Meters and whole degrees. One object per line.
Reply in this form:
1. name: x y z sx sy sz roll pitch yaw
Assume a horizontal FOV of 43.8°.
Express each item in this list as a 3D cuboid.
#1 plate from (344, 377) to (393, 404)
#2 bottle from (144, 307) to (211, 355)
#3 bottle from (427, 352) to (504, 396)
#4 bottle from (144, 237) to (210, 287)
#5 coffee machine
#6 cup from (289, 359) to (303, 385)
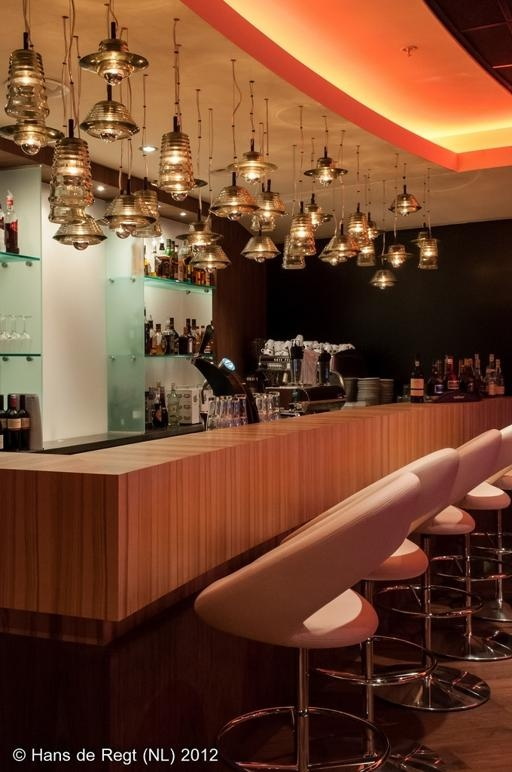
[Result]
1. plate: 1.161 0.061 6.578 0.422 0.164 0.323 -2 0 34
2. bottle: -0.681 -0.421 5.640 0.248 0.332 0.878 2 4 24
3. bottle: 1.678 -0.099 5.062 0.438 0.242 0.444 0 1 0
4. bottle: -0.668 -1.093 5.750 0.299 0.385 1.025 2 3 16
5. coffee machine: 0.311 0.084 4.383 0.411 0.563 0.561 -5 -2 28
6. cup: 0.263 -0.090 4.174 0.071 0.174 0.094 6 13 10
